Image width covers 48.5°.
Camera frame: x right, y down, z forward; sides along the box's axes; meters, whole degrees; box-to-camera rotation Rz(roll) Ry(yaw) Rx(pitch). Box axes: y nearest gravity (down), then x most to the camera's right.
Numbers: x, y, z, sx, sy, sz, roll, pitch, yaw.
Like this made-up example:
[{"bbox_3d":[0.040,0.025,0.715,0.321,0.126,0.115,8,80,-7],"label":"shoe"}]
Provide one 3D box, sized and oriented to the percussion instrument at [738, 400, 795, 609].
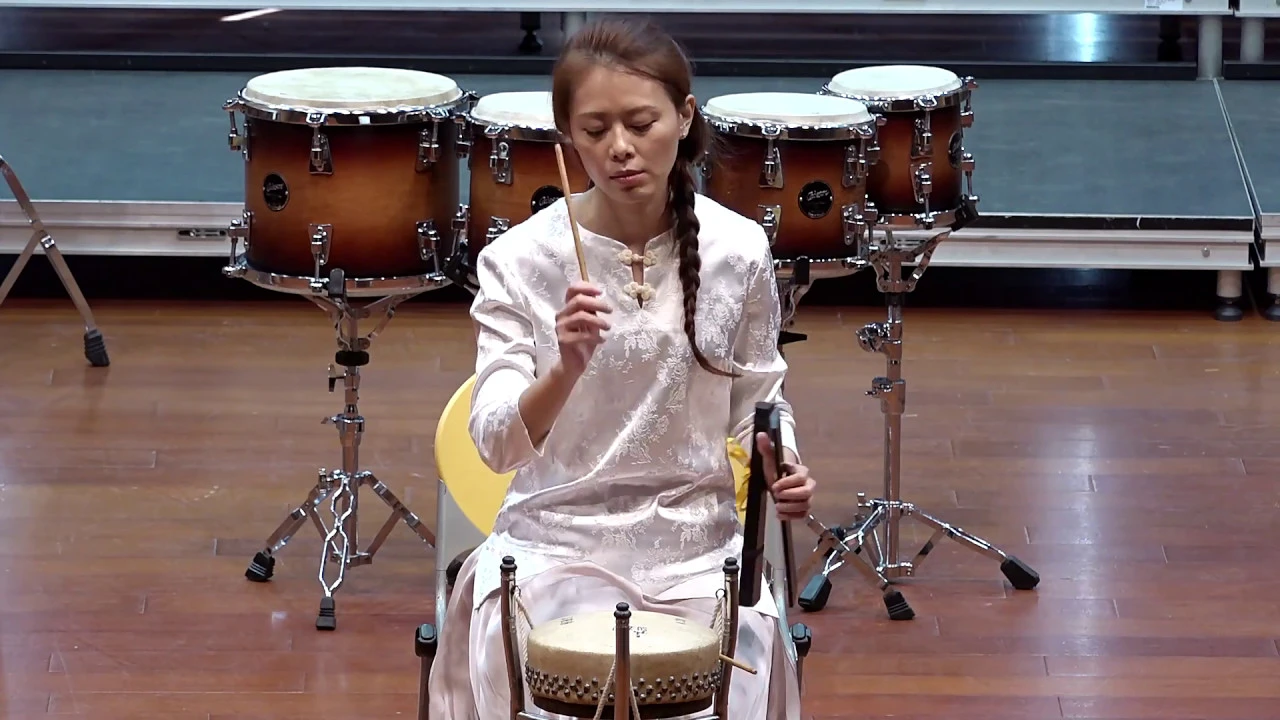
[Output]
[{"bbox_3d":[0.351,0.423,3.931,0.120,0.684,0.378,0,15,11],"label":"percussion instrument"}]
